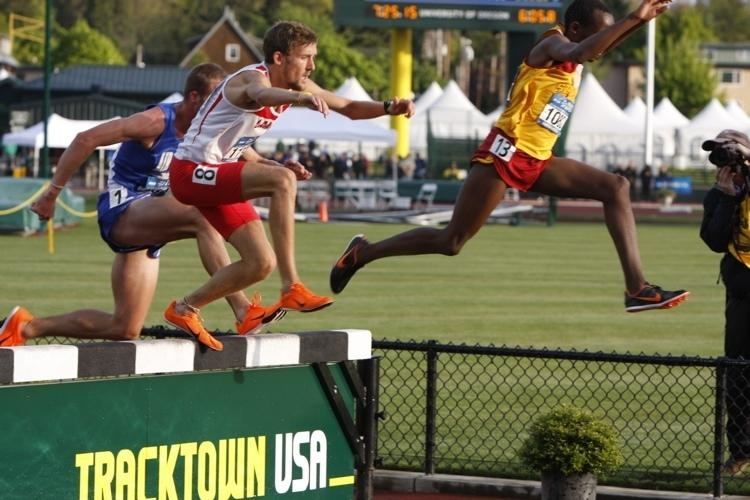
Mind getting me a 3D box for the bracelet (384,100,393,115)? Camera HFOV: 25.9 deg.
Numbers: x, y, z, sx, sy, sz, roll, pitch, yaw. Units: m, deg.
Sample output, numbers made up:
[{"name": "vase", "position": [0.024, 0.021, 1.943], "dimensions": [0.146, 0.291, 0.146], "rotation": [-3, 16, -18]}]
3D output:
[{"name": "bracelet", "position": [0.235, -2.463, 28.057], "dimensions": [0.152, 0.237, 0.104], "rotation": [1, -6, 14]}]
